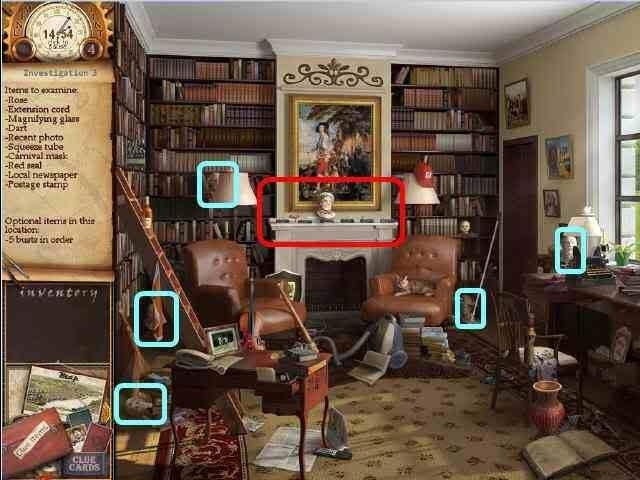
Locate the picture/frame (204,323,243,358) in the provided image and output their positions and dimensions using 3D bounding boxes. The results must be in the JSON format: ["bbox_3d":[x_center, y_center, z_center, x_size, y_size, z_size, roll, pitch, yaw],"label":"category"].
[{"bbox_3d":[-0.749,0.791,4.151,0.037,0.209,0.307,-25,-18,36],"label":"picture/frame"}]

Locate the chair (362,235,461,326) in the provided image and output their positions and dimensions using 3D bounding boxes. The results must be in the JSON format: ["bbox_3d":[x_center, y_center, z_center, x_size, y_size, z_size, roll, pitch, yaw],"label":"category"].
[{"bbox_3d":[1.156,0.574,6.655,1.006,1.105,1.178,2,9,18],"label":"chair"}]

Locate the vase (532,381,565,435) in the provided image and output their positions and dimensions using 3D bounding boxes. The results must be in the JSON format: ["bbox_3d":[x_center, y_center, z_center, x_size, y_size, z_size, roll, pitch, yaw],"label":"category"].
[{"bbox_3d":[1.797,1.314,4.243,0.220,0.424,0.405,2,9,19],"label":"vase"}]

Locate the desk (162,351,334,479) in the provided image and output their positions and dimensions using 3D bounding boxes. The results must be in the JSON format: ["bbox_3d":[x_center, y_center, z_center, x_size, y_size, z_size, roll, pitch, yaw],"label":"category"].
[{"bbox_3d":[-0.485,1.421,3.821,1.219,0.796,0.861,-1,-4,11],"label":"desk"}]

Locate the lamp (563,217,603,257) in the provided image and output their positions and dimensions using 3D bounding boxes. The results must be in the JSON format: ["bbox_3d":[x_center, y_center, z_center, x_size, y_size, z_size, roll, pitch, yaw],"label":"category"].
[{"bbox_3d":[2.778,-0.054,5.506,0.430,0.388,0.351,-1,2,-15],"label":"lamp"}]

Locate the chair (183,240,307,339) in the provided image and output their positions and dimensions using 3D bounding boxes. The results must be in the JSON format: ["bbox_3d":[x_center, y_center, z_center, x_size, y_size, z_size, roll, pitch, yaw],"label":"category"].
[{"bbox_3d":[-0.881,0.619,6.093,1.136,1.106,0.981,6,8,43],"label":"chair"}]
